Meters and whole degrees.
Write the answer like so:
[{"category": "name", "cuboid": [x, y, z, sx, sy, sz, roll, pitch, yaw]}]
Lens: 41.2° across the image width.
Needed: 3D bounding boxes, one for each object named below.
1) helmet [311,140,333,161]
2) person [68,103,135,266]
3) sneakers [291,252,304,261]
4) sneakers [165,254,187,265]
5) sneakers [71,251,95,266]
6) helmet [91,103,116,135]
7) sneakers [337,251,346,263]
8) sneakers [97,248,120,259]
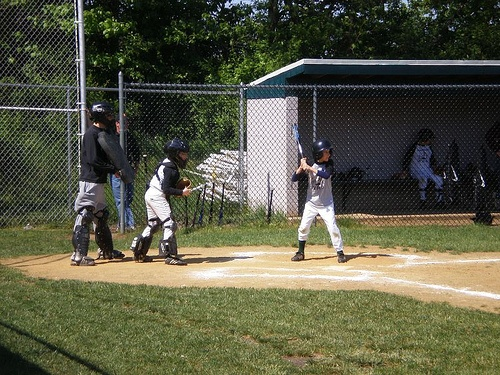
[{"category": "helmet", "cuboid": [1.193, -0.600, 10.682, 0.310, 0.311, 0.269, -4, 4, 23]}, {"category": "person", "cuboid": [-2.392, -0.062, 10.376, 0.663, 2.479, 1.032, 12, 15, 44]}, {"category": "sneakers", "cuboid": [0.791, 1.100, 10.682, 0.088, 0.118, 0.257, 0, 0, 35]}, {"category": "sneakers", "cuboid": [-1.157, 1.109, 10.372, 0.377, 0.169, 0.131, 1, 0, 8]}, {"category": "sneakers", "cuboid": [-2.561, 1.074, 10.225, 0.322, 0.231, 0.179, -5, 2, 2]}, {"category": "helmet", "cuboid": [-2.314, -1.124, 10.520, 0.392, 0.420, 0.337, -2, 14, -14]}, {"category": "sneakers", "cuboid": [1.488, 1.078, 10.610, 0.152, 0.176, 0.324, 3, 12, 8]}, {"category": "sneakers", "cuboid": [-2.250, 1.058, 10.632, 0.329, 0.170, 0.155, -2, 14, -12]}]
